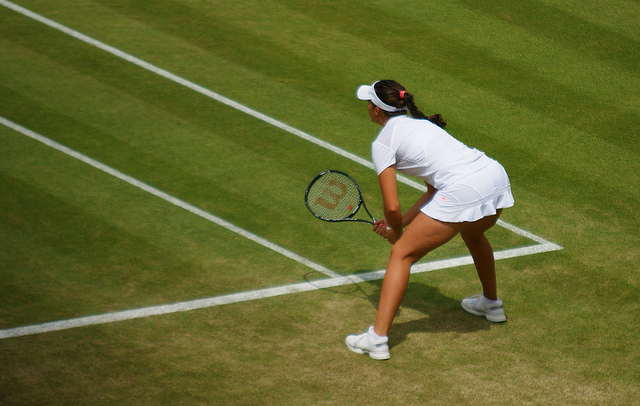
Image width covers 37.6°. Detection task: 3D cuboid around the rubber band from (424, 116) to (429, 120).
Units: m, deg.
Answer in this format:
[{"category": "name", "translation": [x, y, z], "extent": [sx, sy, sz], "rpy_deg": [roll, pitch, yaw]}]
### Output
[{"category": "rubber band", "translation": [1.328, -1.075, 11.777], "extent": [0.070, 0.055, 0.016], "rpy_deg": [2, -16, -29]}]

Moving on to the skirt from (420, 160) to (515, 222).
[{"category": "skirt", "translation": [1.839, -0.120, 11.530], "extent": [1.058, 0.689, 0.420], "rpy_deg": [-9, 37, -27]}]
